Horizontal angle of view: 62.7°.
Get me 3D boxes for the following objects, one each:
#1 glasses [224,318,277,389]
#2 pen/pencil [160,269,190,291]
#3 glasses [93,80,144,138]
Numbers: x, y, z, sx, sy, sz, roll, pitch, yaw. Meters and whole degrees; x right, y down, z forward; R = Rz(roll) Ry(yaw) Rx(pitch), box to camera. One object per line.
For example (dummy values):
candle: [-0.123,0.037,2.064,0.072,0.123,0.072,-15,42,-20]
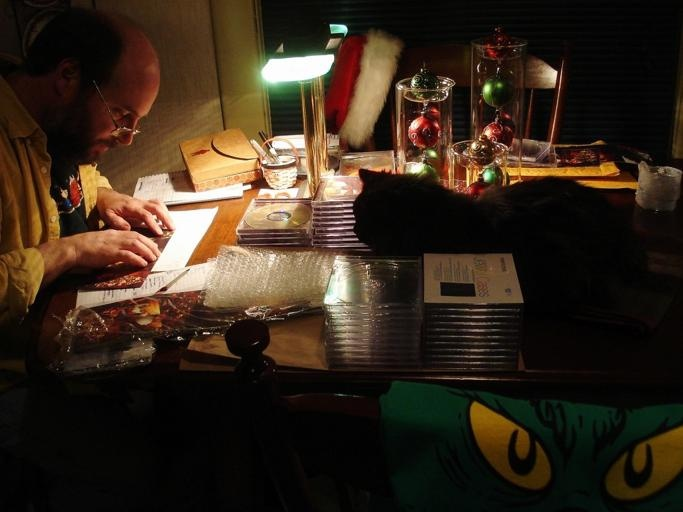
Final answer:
glasses: [-0.149,0.190,1.035,0.103,0.111,0.101,-8,42,-6]
pen/pencil: [-0.427,0.061,1.437,0.025,0.004,0.095,14,39,35]
glasses: [-0.670,-0.435,1.674,0.042,0.134,0.132,-12,0,10]
